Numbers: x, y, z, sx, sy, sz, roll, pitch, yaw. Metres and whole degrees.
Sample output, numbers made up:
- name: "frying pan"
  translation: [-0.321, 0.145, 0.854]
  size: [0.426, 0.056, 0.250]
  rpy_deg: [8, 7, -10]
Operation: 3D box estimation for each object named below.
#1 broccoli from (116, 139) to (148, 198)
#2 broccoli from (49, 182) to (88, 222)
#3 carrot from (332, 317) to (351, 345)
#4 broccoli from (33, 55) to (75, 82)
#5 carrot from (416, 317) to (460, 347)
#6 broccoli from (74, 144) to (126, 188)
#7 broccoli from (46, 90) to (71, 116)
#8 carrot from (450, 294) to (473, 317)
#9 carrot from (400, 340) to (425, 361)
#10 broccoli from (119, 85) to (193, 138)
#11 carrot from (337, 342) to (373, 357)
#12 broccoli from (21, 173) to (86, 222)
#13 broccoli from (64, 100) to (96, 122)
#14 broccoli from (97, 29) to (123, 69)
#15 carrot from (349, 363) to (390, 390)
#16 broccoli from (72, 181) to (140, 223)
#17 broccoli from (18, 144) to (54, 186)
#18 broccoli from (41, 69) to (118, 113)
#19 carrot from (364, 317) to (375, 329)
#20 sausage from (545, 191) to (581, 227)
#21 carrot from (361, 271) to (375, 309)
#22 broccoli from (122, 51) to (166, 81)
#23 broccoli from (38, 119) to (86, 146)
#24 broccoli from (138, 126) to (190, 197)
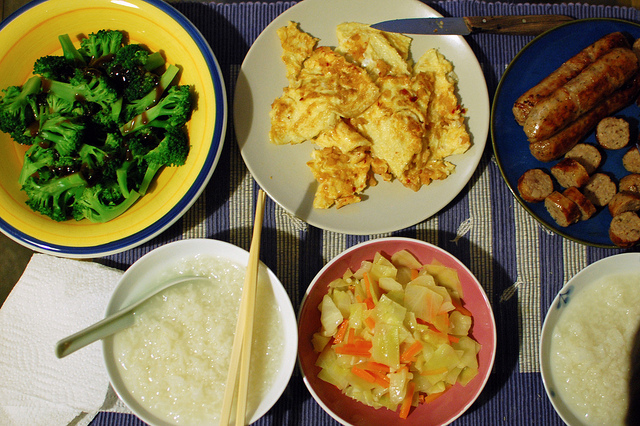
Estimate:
- name: "broccoli"
  translation: [-1.232, -0.313, 3.964]
  size: [0.147, 0.108, 0.387]
  rpy_deg: [17, 80, -3]
- name: "broccoli"
  translation: [-1.633, -0.078, 3.914]
  size: [0.262, 0.090, 0.198]
  rpy_deg: [-51, 122, -7]
- name: "carrot"
  translation: [0.136, 0.767, 3.925]
  size: [0.090, 0.042, 0.176]
  rpy_deg: [7, 85, 10]
- name: "broccoli"
  translation: [-1.723, -0.943, 3.908]
  size: [0.177, 0.077, 0.213]
  rpy_deg: [29, 65, -2]
- name: "carrot"
  translation: [0.746, 0.773, 3.906]
  size: [0.225, 0.061, 0.059]
  rpy_deg: [36, 85, 3]
- name: "broccoli"
  translation: [-1.430, -0.309, 3.974]
  size: [0.259, 0.158, 0.263]
  rpy_deg: [17, 89, -4]
- name: "broccoli"
  translation: [-1.698, -0.701, 3.948]
  size: [0.143, 0.052, 0.154]
  rpy_deg: [33, 85, 2]
- name: "carrot"
  translation: [0.921, 0.609, 3.973]
  size: [0.040, 0.038, 0.150]
  rpy_deg: [-17, 58, -34]
- name: "carrot"
  translation: [0.577, 0.887, 3.872]
  size: [0.181, 0.056, 0.057]
  rpy_deg: [-36, 78, -7]
- name: "broccoli"
  translation: [-1.065, -0.720, 3.924]
  size: [0.399, 0.324, 0.215]
  rpy_deg: [-22, 44, -8]
- name: "carrot"
  translation: [0.218, 0.870, 3.802]
  size: [0.211, 0.057, 0.109]
  rpy_deg: [1, 85, -3]
- name: "broccoli"
  translation: [-1.726, -0.135, 3.934]
  size: [0.318, 0.155, 0.294]
  rpy_deg: [-42, 93, -1]
- name: "broccoli"
  translation: [-1.533, -0.672, 3.911]
  size: [0.110, 0.070, 0.163]
  rpy_deg: [36, 71, -21]
- name: "broccoli"
  translation: [-1.371, -1.086, 3.951]
  size: [0.140, 0.100, 0.262]
  rpy_deg: [8, 80, -24]
- name: "carrot"
  translation: [0.325, 1.049, 3.875]
  size: [0.176, 0.068, 0.208]
  rpy_deg: [13, 56, -12]
- name: "broccoli"
  translation: [-1.418, -0.068, 3.936]
  size: [0.290, 0.084, 0.301]
  rpy_deg: [40, 86, 6]
- name: "broccoli"
  translation: [-1.826, -0.294, 3.959]
  size: [0.188, 0.085, 0.296]
  rpy_deg: [29, 88, 5]
- name: "broccoli"
  translation: [-1.527, -0.782, 3.830]
  size: [0.335, 0.214, 0.299]
  rpy_deg: [-1, 75, 1]
- name: "carrot"
  translation: [0.320, 0.702, 3.874]
  size: [0.072, 0.017, 0.045]
  rpy_deg: [43, 81, 9]
- name: "sausage"
  translation: [1.609, -0.034, 4.024]
  size: [0.103, 0.142, 0.200]
  rpy_deg: [-33, 84, -12]
- name: "carrot"
  translation: [0.318, 0.511, 3.938]
  size: [0.052, 0.046, 0.261]
  rpy_deg: [-6, 86, 2]
- name: "broccoli"
  translation: [-1.161, -0.970, 4.001]
  size: [0.199, 0.116, 0.193]
  rpy_deg: [-23, 96, -19]
- name: "broccoli"
  translation: [-1.633, -0.522, 3.836]
  size: [0.209, 0.103, 0.168]
  rpy_deg: [2, 69, 3]
- name: "broccoli"
  translation: [-1.036, -0.312, 3.866]
  size: [0.268, 0.138, 0.450]
  rpy_deg: [36, 107, 13]
